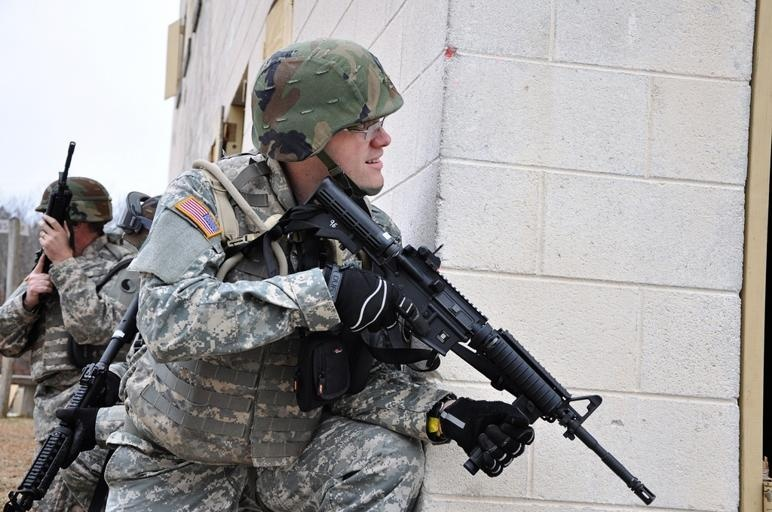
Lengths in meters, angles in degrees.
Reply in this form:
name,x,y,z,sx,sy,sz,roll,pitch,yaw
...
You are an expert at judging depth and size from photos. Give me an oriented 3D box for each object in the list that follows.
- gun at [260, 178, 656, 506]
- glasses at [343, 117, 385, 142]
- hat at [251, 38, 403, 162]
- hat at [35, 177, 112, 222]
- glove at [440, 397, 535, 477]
name,x,y,z,sx,sy,sz,roll,pitch,yaw
gun,0.309,0.479,4.223,1.926,0.766,0.393,43,14,-1
glasses,-0.096,-0.607,4.270,0.142,0.042,0.135,-15,-1,21
hat,-0.276,-0.843,4.457,0.911,0.557,0.668,3,23,22
hat,-2.302,-0.426,6.356,0.571,0.345,0.414,1,1,5
glove,0.481,0.849,4.075,0.403,0.322,0.169,36,-12,16
